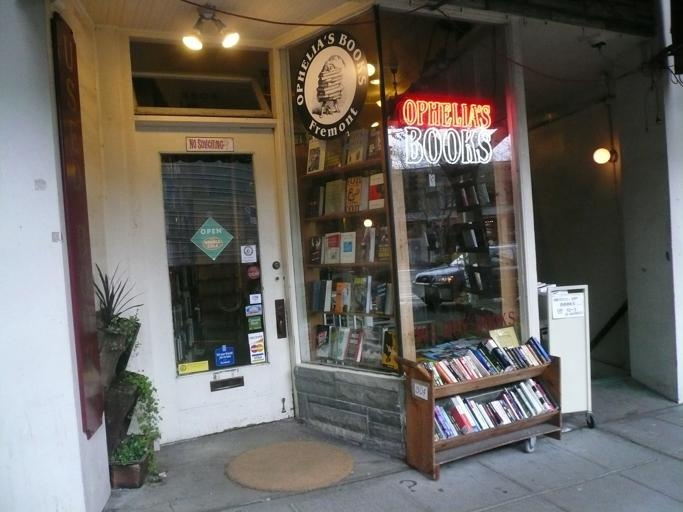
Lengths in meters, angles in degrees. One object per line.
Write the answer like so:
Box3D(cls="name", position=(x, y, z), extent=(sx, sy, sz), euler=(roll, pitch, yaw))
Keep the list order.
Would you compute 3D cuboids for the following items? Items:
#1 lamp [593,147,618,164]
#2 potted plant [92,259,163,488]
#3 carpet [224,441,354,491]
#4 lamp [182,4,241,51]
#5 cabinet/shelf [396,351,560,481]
Box3D(cls="lamp", position=(3.091, -1.202, 7.009), extent=(0.264, 0.212, 0.369), euler=(-5, 12, -16))
Box3D(cls="potted plant", position=(-1.772, 0.936, 4.842), extent=(0.423, 1.654, 0.917), euler=(-6, 12, -19))
Box3D(cls="carpet", position=(-0.436, 1.755, 4.870), extent=(1.048, 0.028, 0.781), euler=(-2, 12, 0))
Box3D(cls="lamp", position=(-1.158, -2.014, 5.184), extent=(0.516, 0.361, 0.788), euler=(-4, 12, -12))
Box3D(cls="cabinet/shelf", position=(1.231, 1.223, 4.972), extent=(1.522, 0.904, 0.555), euler=(-7, 13, -23))
